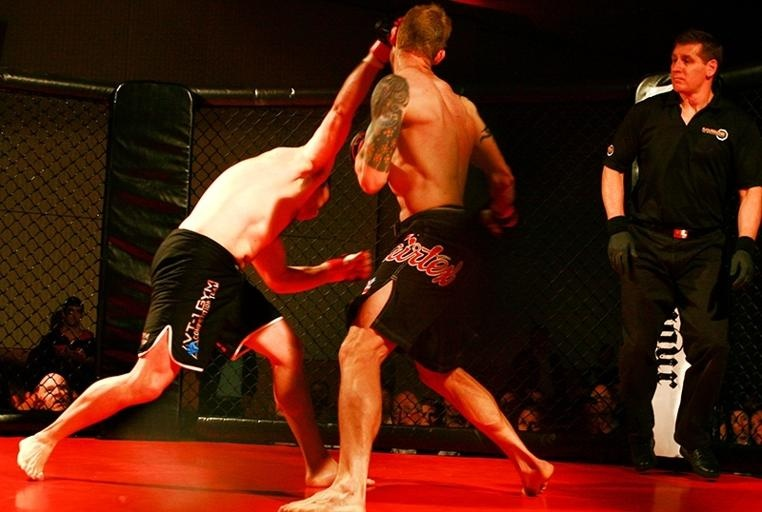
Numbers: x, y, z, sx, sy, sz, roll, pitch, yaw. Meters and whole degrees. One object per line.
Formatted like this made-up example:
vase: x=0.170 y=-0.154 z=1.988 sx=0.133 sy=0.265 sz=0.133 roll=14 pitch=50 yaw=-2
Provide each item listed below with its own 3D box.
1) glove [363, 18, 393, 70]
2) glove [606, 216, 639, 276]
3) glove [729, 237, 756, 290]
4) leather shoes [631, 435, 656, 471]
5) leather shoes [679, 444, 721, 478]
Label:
glove: x=-0.052 y=-1.079 z=3.939 sx=0.089 sy=0.216 sz=0.183 roll=23 pitch=26 yaw=7
glove: x=1.326 y=-0.052 z=4.350 sx=0.119 sy=0.296 sz=0.186 roll=10 pitch=-30 yaw=-14
glove: x=2.013 y=0.033 z=4.315 sx=0.119 sy=0.278 sz=0.265 roll=11 pitch=20 yaw=24
leather shoes: x=1.542 y=1.134 z=4.520 sx=0.101 sy=0.180 sz=0.295 roll=-2 pitch=6 yaw=21
leather shoes: x=1.769 y=1.152 z=4.401 sx=0.123 sy=0.103 sz=0.261 roll=0 pitch=7 yaw=-31
